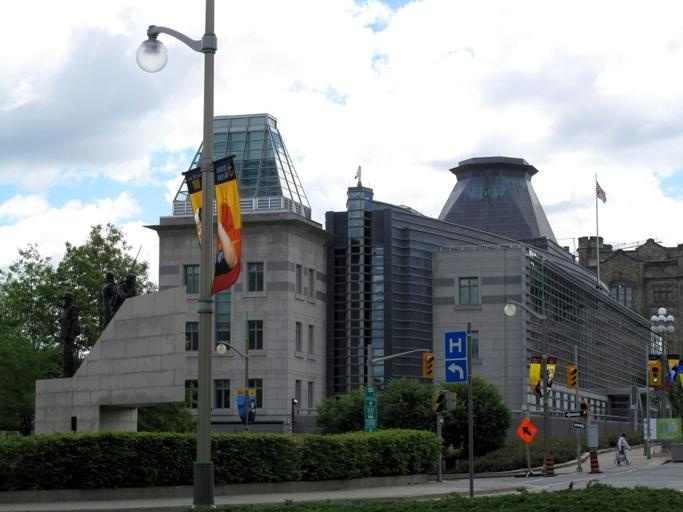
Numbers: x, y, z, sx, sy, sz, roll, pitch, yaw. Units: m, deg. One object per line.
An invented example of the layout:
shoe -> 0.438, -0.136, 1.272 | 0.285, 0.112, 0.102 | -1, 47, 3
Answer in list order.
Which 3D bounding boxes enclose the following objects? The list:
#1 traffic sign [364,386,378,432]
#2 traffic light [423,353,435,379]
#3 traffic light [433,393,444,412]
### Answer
traffic sign -> 1.625, 8.347, 80.070 | 0.542, 2.665, 1.259 | -4, -17, 8
traffic light -> 5.196, 6.406, 87.121 | 0.545, 1.592, 0.954 | 0, -17, -4
traffic light -> 5.089, 7.484, 75.290 | 0.510, 1.092, 0.909 | -1, -17, 0
